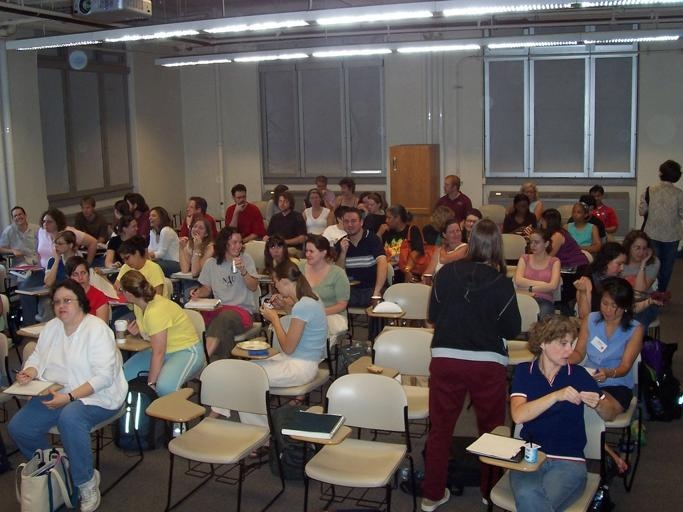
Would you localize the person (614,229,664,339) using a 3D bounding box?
[{"bbox_3d":[3.142,0.467,6.484,0.439,1.410,0.415,-12,16,-22],"label":"person"}]

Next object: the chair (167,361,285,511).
[{"bbox_3d":[-0.890,1.336,4.571,0.782,1.087,0.749,0,9,18],"label":"chair"}]

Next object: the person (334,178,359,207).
[{"bbox_3d":[0.094,-1.060,10.085,0.383,0.452,0.929,-3,8,-1],"label":"person"}]

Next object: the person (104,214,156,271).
[{"bbox_3d":[-2.701,-0.162,7.750,0.708,0.980,0.527,-2,6,-33],"label":"person"}]

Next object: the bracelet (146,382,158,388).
[{"bbox_3d":[-1.610,1.094,5.149,0.040,0.048,0.044,-6,-30,14],"label":"bracelet"}]

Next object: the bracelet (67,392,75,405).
[{"bbox_3d":[-2.029,1.068,4.541,0.044,0.063,0.066,-19,1,-14],"label":"bracelet"}]

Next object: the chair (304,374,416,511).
[{"bbox_3d":[0.140,1.384,4.321,0.745,1.044,0.854,-2,8,8],"label":"chair"}]

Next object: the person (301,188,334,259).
[{"bbox_3d":[-0.399,-0.592,9.305,0.489,0.904,0.476,-2,1,0],"label":"person"}]

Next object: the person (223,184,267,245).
[{"bbox_3d":[-1.565,-0.624,9.529,0.601,0.946,0.747,-10,23,-22],"label":"person"}]

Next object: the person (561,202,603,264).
[{"bbox_3d":[3.322,-0.321,8.445,0.583,0.847,0.480,1,5,38],"label":"person"}]

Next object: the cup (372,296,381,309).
[{"bbox_3d":[0.362,0.460,6.115,0.089,0.080,0.096,1,-2,0],"label":"cup"}]

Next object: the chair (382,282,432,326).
[{"bbox_3d":[0.683,0.523,6.424,0.429,0.568,0.381,0,6,4],"label":"chair"}]

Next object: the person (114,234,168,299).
[{"bbox_3d":[-2.183,0.113,6.590,0.577,0.749,0.501,8,16,42],"label":"person"}]

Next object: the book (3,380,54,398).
[{"bbox_3d":[-2.351,1.004,4.565,0.389,0.082,0.262,-2,8,7],"label":"book"}]

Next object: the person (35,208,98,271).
[{"bbox_3d":[-3.773,-0.228,8.184,0.829,0.889,0.445,4,21,-9],"label":"person"}]

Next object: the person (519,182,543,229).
[{"bbox_3d":[2.938,-0.755,9.508,0.372,0.773,0.407,5,20,20],"label":"person"}]

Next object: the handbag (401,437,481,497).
[{"bbox_3d":[0.837,1.619,4.668,0.397,0.114,0.420,0,24,13],"label":"handbag"}]

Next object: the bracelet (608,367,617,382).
[{"bbox_3d":[2.050,0.890,4.578,0.056,0.073,0.031,-2,-26,14],"label":"bracelet"}]

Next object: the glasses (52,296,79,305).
[{"bbox_3d":[-2.126,0.342,4.638,0.153,0.047,0.048,-4,8,-8],"label":"glasses"}]

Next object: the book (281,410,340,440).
[{"bbox_3d":[-0.173,1.114,4.004,0.199,0.048,0.228,3,14,26],"label":"book"}]

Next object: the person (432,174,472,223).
[{"bbox_3d":[1.811,-0.886,9.716,0.648,0.866,0.457,11,27,42],"label":"person"}]

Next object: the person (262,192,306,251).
[{"bbox_3d":[-0.839,-0.450,8.885,0.597,0.950,0.504,1,6,19],"label":"person"}]

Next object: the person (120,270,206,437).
[{"bbox_3d":[-1.604,0.881,5.435,0.729,1.483,0.655,-8,11,-39],"label":"person"}]

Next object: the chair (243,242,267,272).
[{"bbox_3d":[-1.160,-0.005,8.329,0.393,0.558,0.428,1,9,-6],"label":"chair"}]

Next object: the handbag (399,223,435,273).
[{"bbox_3d":[0.917,-0.079,7.443,0.527,0.745,0.348,4,-10,-40],"label":"handbag"}]

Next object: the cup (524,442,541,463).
[{"bbox_3d":[1.108,1.151,3.540,0.093,0.088,0.093,-1,1,0],"label":"cup"}]

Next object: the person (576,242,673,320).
[{"bbox_3d":[2.749,0.237,5.912,0.685,0.971,0.556,-17,16,-28],"label":"person"}]
